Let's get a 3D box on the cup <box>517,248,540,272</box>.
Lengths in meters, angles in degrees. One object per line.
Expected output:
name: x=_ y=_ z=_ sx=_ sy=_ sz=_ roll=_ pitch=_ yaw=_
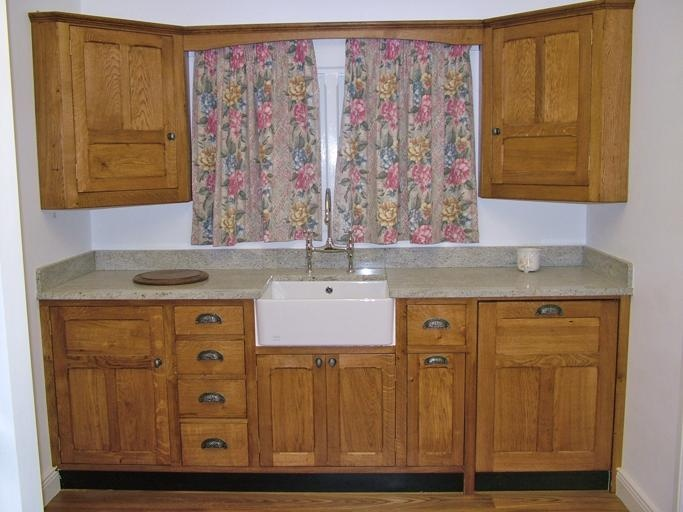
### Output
cup: x=1.013 y=0.024 z=3.807 sx=0.139 sy=0.124 sz=0.127 roll=-1 pitch=11 yaw=0

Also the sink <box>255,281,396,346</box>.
sink: x=-0.074 y=0.290 z=3.581 sx=0.705 sy=0.318 sz=0.387 roll=0 pitch=1 yaw=3
